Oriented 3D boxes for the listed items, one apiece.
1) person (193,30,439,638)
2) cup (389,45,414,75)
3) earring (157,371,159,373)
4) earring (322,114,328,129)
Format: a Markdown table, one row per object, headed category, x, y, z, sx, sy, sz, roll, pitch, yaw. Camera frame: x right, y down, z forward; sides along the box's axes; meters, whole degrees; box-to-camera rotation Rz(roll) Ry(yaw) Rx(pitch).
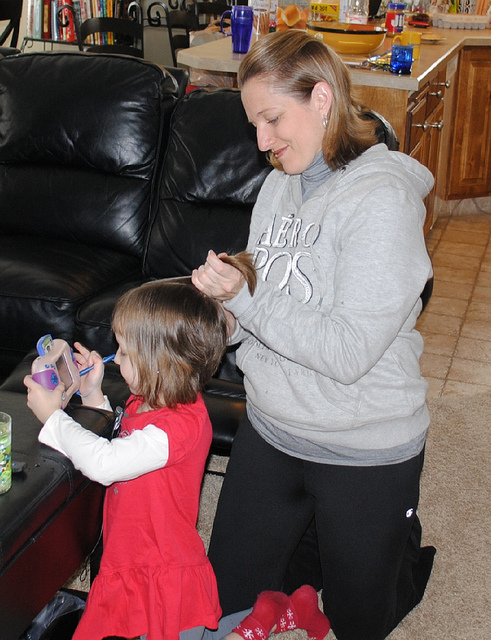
| category | x | y | z | sx | sy | sz | roll | pitch | yaw |
| --- | --- | --- | --- | --- | --- | --- | --- | --- | --- |
| person | 0.140 | 0.180 | 1.028 | 0.396 | 1.320 | 0.397 | 7 | 25 | 22 |
| cup | 0.810 | -1.344 | 2.789 | 0.124 | 0.144 | 0.152 | 4 | 4 | 23 |
| earring | -0.152 | 0.089 | 0.923 | 0.004 | 0.004 | 0.004 | 2 | -3 | -17 |
| earring | 0.123 | -0.311 | 0.835 | 0.006 | 0.019 | 0.010 | -10 | 24 | -16 |
